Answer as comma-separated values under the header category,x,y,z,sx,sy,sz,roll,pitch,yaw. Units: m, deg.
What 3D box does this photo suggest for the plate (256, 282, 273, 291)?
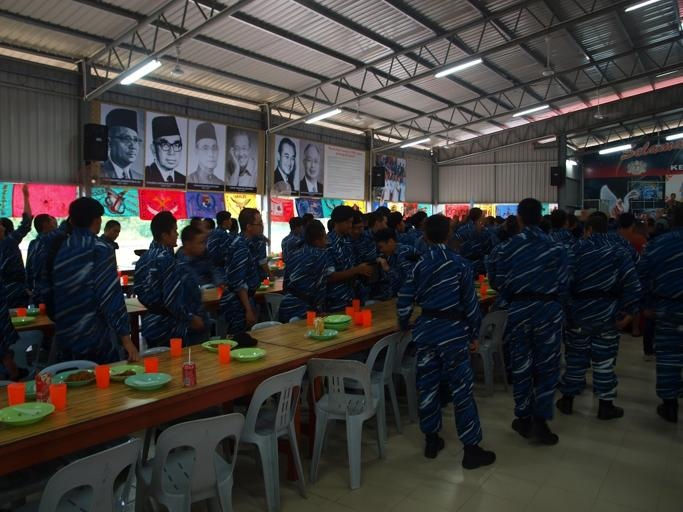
category,x,y,z,sx,sy,sz,roll,pitch,yaw
plate,-1.049,0.411,6.713,0.155,0.030,0.211,2,10,16

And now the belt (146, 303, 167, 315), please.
category,x,y,z,sx,sy,sz,roll,pitch,yaw
belt,-1.559,0.453,4.213,0.118,0.061,0.157,7,-8,16

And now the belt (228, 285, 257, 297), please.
category,x,y,z,sx,sy,sz,roll,pitch,yaw
belt,-1.143,0.392,5.554,0.165,0.089,0.202,-1,-5,7

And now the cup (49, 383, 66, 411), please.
category,x,y,z,sx,sy,sz,roll,pitch,yaw
cup,-1.620,0.791,2.855,0.086,0.141,0.123,-6,9,-32

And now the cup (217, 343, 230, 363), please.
category,x,y,z,sx,sy,sz,roll,pitch,yaw
cup,-0.833,0.684,3.553,0.124,0.132,0.118,0,4,0

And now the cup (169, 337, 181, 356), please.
category,x,y,z,sx,sy,sz,roll,pitch,yaw
cup,-1.229,0.667,3.712,0.116,0.121,0.110,1,5,0

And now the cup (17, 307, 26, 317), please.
category,x,y,z,sx,sy,sz,roll,pitch,yaw
cup,-3.201,0.564,5.016,0.088,0.095,0.088,-1,0,0

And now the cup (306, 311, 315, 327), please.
category,x,y,z,sx,sy,sz,roll,pitch,yaw
cup,-0.261,0.570,4.465,0.124,0.135,0.121,0,-1,0

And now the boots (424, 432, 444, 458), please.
category,x,y,z,sx,sy,sz,roll,pitch,yaw
boots,0.755,1.526,4.113,0.105,0.181,0.263,-1,14,23

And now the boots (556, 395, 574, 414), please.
category,x,y,z,sx,sy,sz,roll,pitch,yaw
boots,2.170,1.459,4.897,0.106,0.218,0.209,1,-33,7

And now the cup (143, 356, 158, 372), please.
category,x,y,z,sx,sy,sz,roll,pitch,yaw
cup,-1.262,0.723,3.342,0.095,0.099,0.096,1,-2,0

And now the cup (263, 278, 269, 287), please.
category,x,y,z,sx,sy,sz,roll,pitch,yaw
cup,-1.086,0.394,7.141,0.083,0.073,0.081,0,5,0

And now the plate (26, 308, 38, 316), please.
category,x,y,z,sx,sy,sz,roll,pitch,yaw
plate,-3.159,0.576,5.133,0.085,0.047,0.094,-1,-5,13
